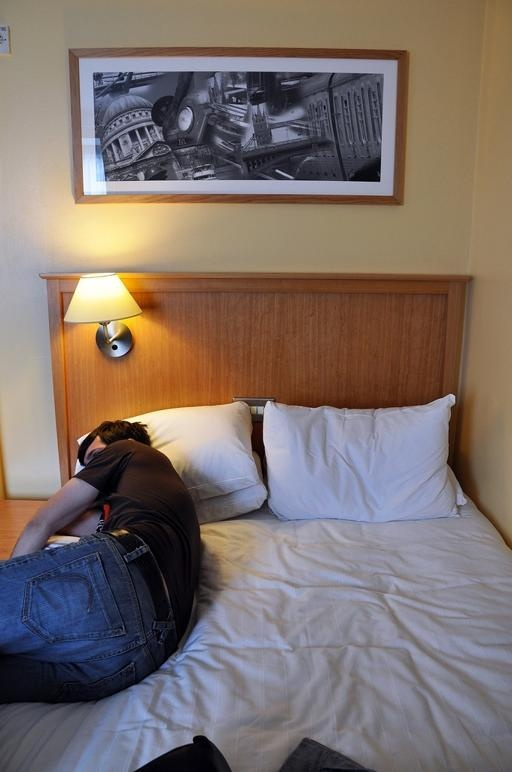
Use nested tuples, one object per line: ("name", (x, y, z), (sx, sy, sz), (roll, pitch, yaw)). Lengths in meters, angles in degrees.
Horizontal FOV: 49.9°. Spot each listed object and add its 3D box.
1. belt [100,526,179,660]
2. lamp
("belt", (-0.220, 0.390, 1.131), (0.063, 0.248, 0.181), (-25, -20, -12))
("lamp", (-0.520, -0.262, 2.052), (0.265, 0.332, 0.316), (-4, 19, 1))
